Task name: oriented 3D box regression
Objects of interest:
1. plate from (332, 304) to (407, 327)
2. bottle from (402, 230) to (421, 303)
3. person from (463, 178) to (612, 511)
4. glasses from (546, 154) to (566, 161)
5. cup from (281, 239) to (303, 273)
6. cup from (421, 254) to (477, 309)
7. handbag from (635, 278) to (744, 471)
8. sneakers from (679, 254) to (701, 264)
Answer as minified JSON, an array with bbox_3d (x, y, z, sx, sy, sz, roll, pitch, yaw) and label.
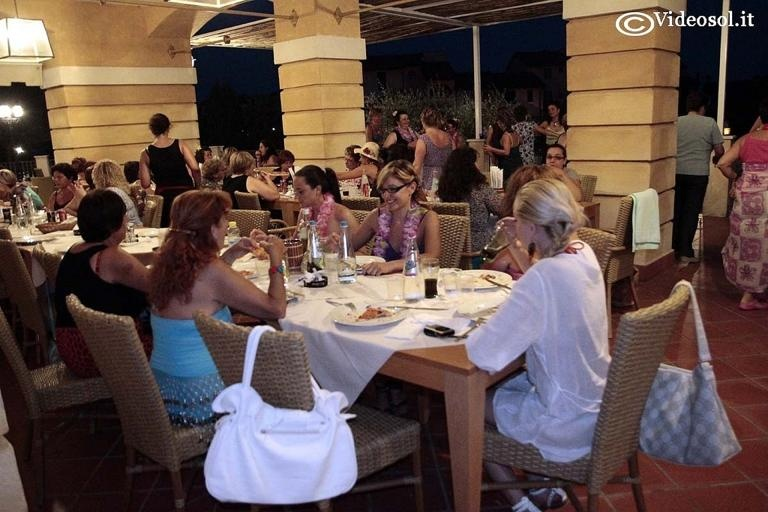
[{"bbox_3d":[-0.079,0.324,3.105,0.408,0.068,0.239,-4,10,-4],"label":"plate"},{"bbox_3d":[0.164,0.072,3.344,0.104,0.334,0.265,-2,11,4],"label":"bottle"},{"bbox_3d":[0.767,0.312,2.821,0.695,1.346,0.474,-1,11,12],"label":"person"},{"bbox_3d":[1.789,-1.010,5.889,0.199,0.051,0.105,-5,11,-9],"label":"glasses"},{"bbox_3d":[-0.604,0.002,3.841,0.184,0.201,0.186,0,1,0],"label":"cup"},{"bbox_3d":[0.382,0.120,3.376,0.301,0.258,0.206,-3,9,23],"label":"cup"},{"bbox_3d":[1.486,0.617,2.763,0.415,0.965,0.235,4,13,32],"label":"handbag"},{"bbox_3d":[3.683,0.034,6.881,0.190,0.076,0.107,0,16,22],"label":"sneakers"}]
